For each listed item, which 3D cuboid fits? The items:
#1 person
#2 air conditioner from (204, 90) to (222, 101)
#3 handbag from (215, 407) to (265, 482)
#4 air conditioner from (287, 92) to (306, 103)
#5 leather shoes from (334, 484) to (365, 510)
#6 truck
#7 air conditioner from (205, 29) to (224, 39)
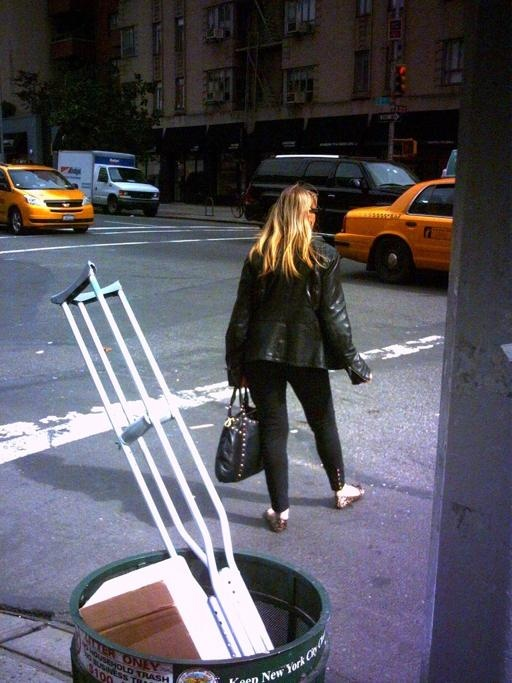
[{"bbox_3d":[0.223,0.127,3.409,0.774,1.875,0.380,0,14,-3],"label":"person"},{"bbox_3d":[-2.719,-15.828,40.283,0.349,0.705,1.380,-11,18,-40],"label":"air conditioner"},{"bbox_3d":[-0.088,0.561,3.317,0.178,0.339,0.329,12,18,39],"label":"handbag"},{"bbox_3d":[2.307,-13.868,35.439,0.487,0.627,1.259,-9,17,-37],"label":"air conditioner"},{"bbox_3d":[0.577,0.931,3.834,0.094,0.092,0.222,6,25,41],"label":"leather shoes"},{"bbox_3d":[-6.703,-7.581,30.051,2.886,3.114,5.812,-8,16,-40],"label":"truck"},{"bbox_3d":[-2.633,-19.624,39.856,1.222,0.657,0.350,9,16,30],"label":"air conditioner"}]
